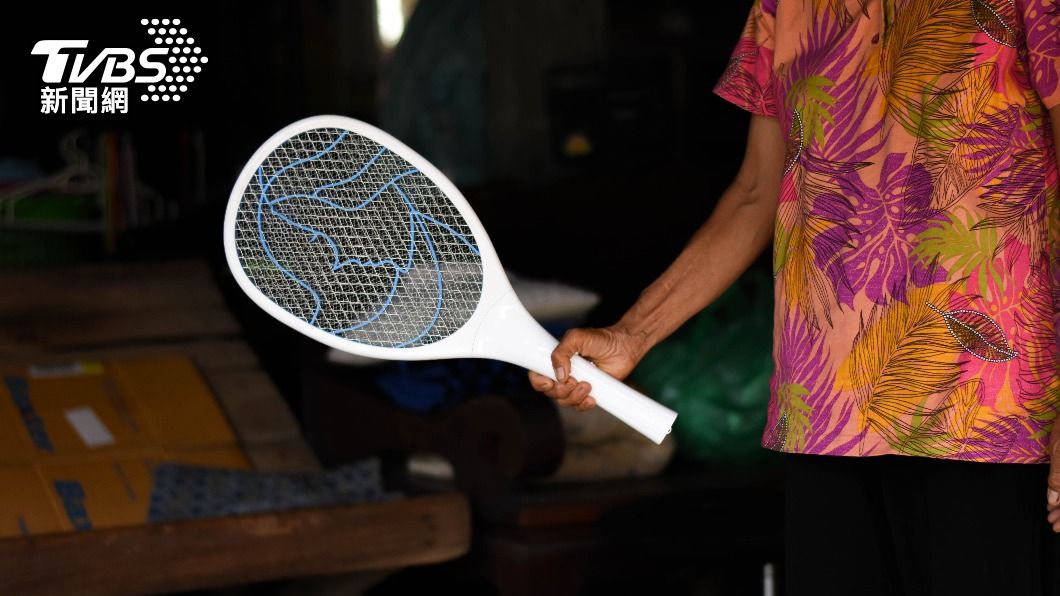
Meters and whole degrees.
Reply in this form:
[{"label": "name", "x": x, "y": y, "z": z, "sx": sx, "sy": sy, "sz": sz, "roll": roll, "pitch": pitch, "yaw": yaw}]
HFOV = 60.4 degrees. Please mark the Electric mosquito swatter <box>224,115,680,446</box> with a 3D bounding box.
[{"label": "Electric mosquito swatter", "x": -0.344, "y": -0.112, "z": 2.205, "sx": 1.420, "sy": 0.553, "sz": 0.098, "roll": 25, "pitch": 22, "yaw": 6}]
